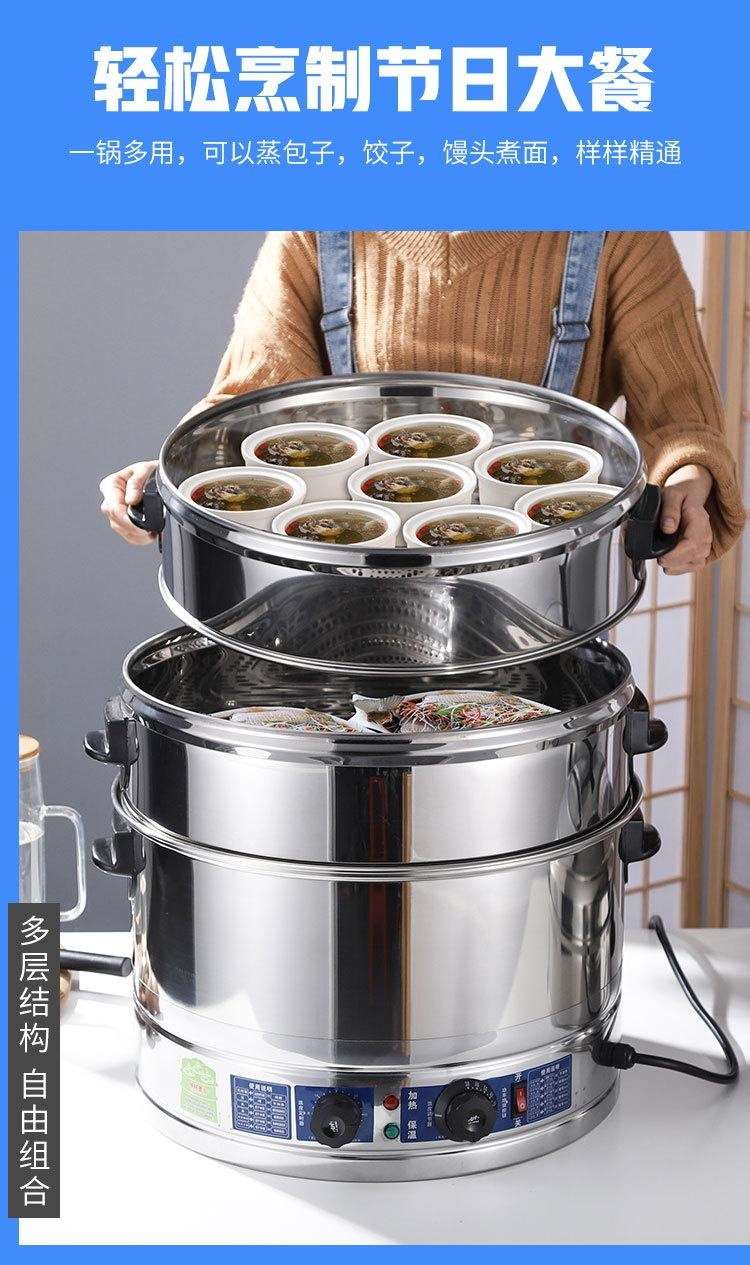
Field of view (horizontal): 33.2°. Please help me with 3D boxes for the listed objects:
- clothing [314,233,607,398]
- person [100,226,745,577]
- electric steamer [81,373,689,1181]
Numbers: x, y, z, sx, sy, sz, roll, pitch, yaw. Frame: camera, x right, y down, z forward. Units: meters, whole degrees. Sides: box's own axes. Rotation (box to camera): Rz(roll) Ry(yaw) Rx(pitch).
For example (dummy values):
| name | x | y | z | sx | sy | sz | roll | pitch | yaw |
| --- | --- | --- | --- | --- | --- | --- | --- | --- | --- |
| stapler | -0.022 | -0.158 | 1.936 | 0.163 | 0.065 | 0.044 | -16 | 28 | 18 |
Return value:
| name | x | y | z | sx | sy | sz | roll | pitch | yaw |
| --- | --- | --- | --- | --- | --- | --- | --- | --- | --- |
| clothing | 0.087 | -0.346 | 1.337 | 0.229 | 0.228 | 0.227 | -1 | 25 | -4 |
| person | 0.105 | -0.195 | 1.414 | 0.730 | 0.445 | 0.383 | 3 | 23 | 6 |
| electric steamer | -0.012 | 0.134 | 1.052 | 0.454 | 0.501 | 0.367 | 1 | 12 | -7 |
